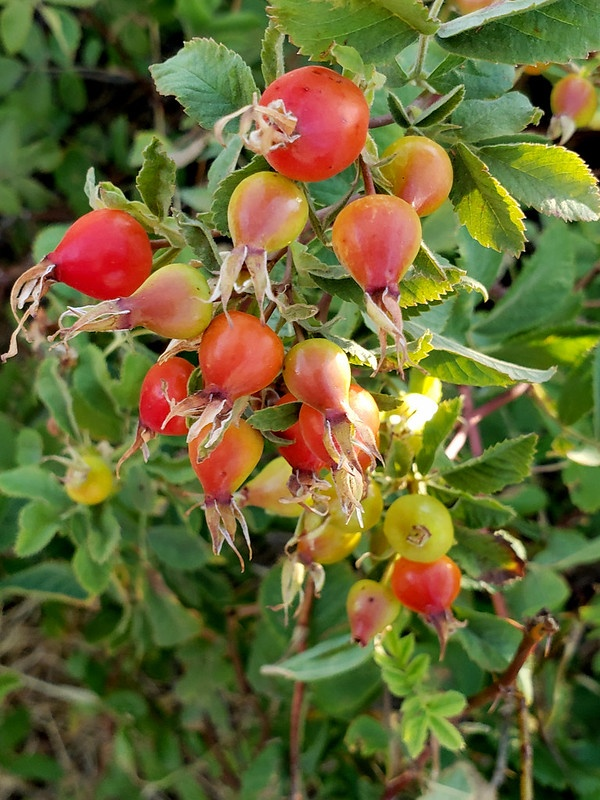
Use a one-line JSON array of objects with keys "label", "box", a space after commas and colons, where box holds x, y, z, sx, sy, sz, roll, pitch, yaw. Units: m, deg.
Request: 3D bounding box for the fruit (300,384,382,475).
[{"label": "fruit", "box": [0.024, 0.018, 0.516, 0.035, 0.033, 0.052, -15, 29, 0]}]

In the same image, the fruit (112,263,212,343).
[{"label": "fruit", "box": [-0.088, -0.064, 0.531, 0.062, 0.021, 0.045, 4, 74, 0]}]

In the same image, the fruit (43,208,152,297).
[{"label": "fruit", "box": [-0.134, -0.098, 0.550, 0.079, 0.052, 0.052, -13, 52, -10]}]

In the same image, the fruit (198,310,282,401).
[{"label": "fruit", "box": [-0.043, -0.028, 0.525, 0.068, 0.056, 0.057, 8, 92, 12]}]

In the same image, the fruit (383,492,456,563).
[{"label": "fruit", "box": [0.092, 0.092, 0.615, 0.053, 0.032, 0.049, 32, 95, 10]}]

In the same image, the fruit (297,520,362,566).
[{"label": "fruit", "box": [0.022, 0.115, 0.649, 0.053, 0.030, 0.026, -6, 55, -15]}]

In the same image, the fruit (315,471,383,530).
[{"label": "fruit", "box": [0.044, 0.086, 0.657, 0.054, 0.050, 0.049, -3, 70, 2]}]
